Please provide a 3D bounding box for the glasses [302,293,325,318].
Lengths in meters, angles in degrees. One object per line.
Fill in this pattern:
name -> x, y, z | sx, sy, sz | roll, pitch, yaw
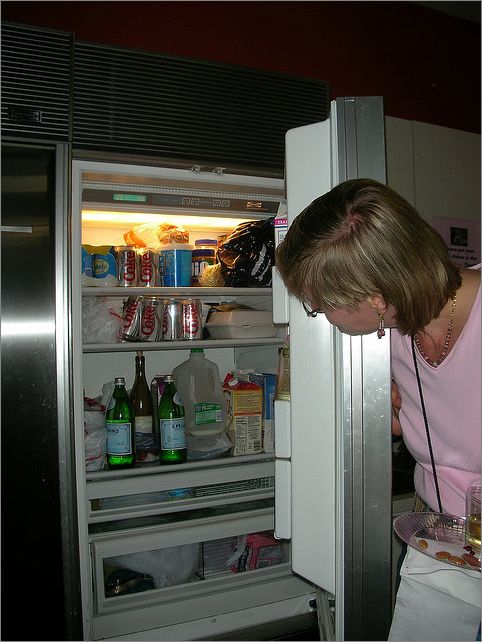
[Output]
glasses -> 0.143, -0.030, 1.012 | 0.043, 0.013, 0.035 | 40, -28, -17

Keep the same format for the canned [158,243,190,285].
canned -> -0.234, -0.188, 1.868 | 0.145, 0.155, 0.142 | -2, 3, -7

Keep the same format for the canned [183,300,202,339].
canned -> -0.166, -0.016, 1.902 | 0.083, 0.144, 0.081 | -3, 15, -10

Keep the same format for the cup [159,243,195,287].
cup -> -0.224, -0.183, 1.820 | 0.137, 0.147, 0.135 | 0, -8, 0

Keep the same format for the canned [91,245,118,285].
canned -> -0.450, -0.192, 1.734 | 0.089, 0.145, 0.083 | 8, 24, 6
